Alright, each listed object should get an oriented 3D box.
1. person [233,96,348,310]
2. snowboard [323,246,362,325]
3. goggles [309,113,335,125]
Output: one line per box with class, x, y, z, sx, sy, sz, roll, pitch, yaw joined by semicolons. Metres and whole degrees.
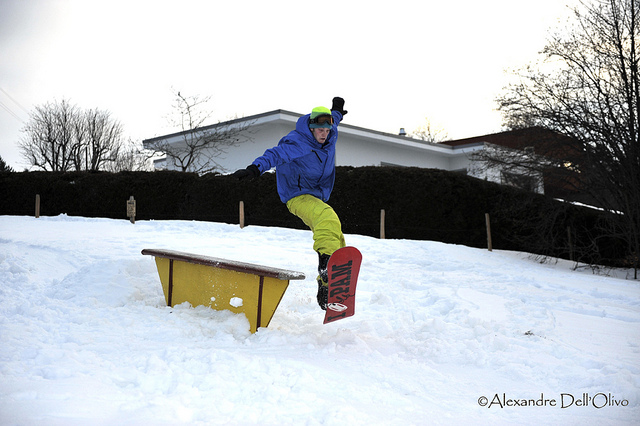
person;-0.225;-0.096;6.883;1.247;2.763;0.979;3;7;-3
snowboard;0.294;0.963;6.731;0.530;0.233;1.636;-12;-47;-12
goggles;0.034;-1.319;6.833;0.320;0.161;0.155;0;8;-22
